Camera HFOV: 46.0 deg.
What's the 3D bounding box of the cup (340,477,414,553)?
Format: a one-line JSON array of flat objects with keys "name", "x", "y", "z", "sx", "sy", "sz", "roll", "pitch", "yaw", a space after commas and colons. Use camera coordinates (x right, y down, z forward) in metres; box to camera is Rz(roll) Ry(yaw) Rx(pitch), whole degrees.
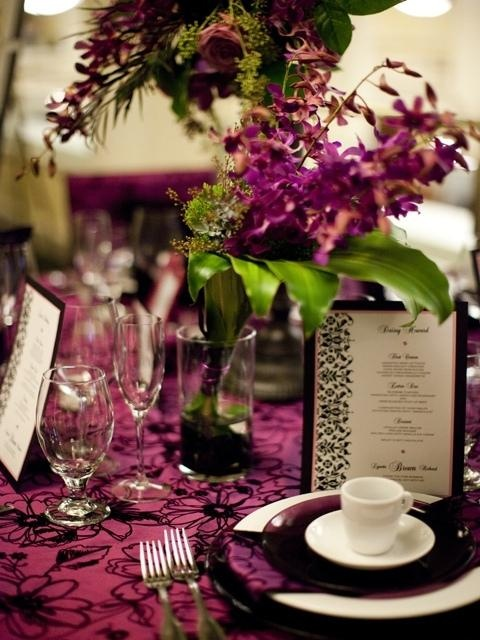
[{"name": "cup", "x": 0.119, "y": 0.184, "z": 0.545, "sx": 0.077, "sy": 0.049, "sz": 0.056, "roll": -1, "pitch": 12, "yaw": -4}]
